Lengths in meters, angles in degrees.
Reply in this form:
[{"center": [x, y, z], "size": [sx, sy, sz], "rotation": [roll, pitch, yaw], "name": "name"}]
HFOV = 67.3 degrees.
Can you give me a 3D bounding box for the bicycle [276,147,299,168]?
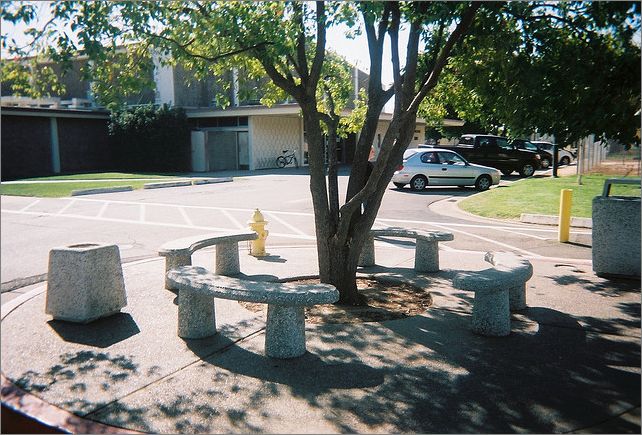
[{"center": [-2.660, -4.728, 38.389], "size": [0.390, 1.331, 2.524], "rotation": [7, 14, 32], "name": "bicycle"}]
